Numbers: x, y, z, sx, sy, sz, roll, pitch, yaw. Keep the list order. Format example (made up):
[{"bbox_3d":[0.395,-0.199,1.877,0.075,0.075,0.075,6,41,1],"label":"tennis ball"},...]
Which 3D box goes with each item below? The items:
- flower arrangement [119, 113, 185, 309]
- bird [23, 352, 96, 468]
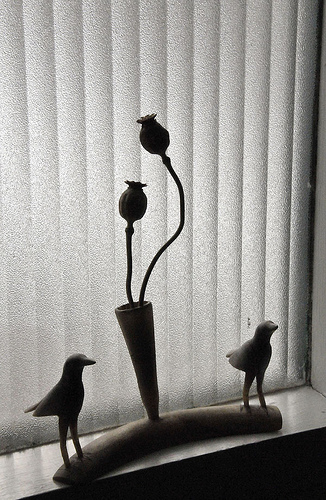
[{"bbox_3d":[-0.016,-0.067,0.904,0.103,0.317,0.155,-2,8,2],"label":"flower arrangement"},{"bbox_3d":[-0.167,0.247,0.841,0.118,0.165,0.051,0,0,11],"label":"bird"}]
